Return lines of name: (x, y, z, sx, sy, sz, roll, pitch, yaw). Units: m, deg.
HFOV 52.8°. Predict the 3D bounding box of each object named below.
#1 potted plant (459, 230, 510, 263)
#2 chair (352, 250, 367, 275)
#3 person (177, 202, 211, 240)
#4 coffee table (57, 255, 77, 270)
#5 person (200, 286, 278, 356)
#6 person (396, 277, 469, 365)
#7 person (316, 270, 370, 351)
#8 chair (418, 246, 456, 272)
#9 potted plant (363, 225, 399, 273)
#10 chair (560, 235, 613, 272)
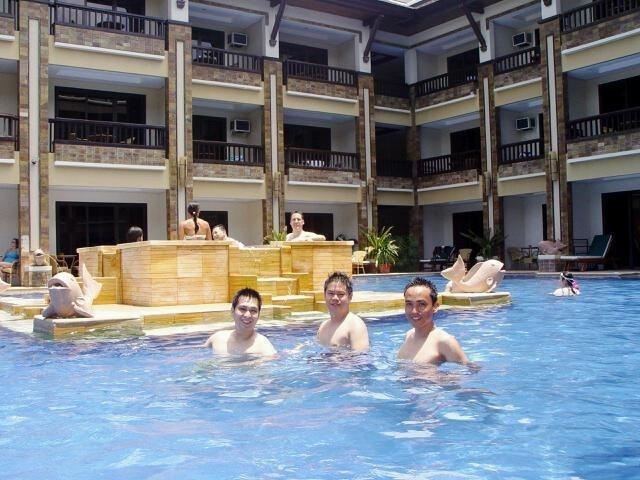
potted plant: (5.795, 0.241, 23.385, 1.428, 1.363, 1.395, 13, -6, 8)
chair: (1.288, 0.772, 22.183, 0.703, 0.894, 0.678, 4, -5, -42)
person: (-2.260, -0.315, 11.755, 0.562, 0.662, 0.899, -1, -2, -23)
coffee table: (-7.334, 0.673, 18.795, 0.560, 0.498, 1.914, -1, -2, -22)
person: (-0.845, 0.919, 7.188, 0.580, 0.757, 0.851, -1, -1, -25)
person: (1.120, 0.828, 6.471, 0.684, 0.893, 0.733, -1, -1, 6)
person: (0.260, 0.807, 7.290, 0.568, 0.880, 0.609, -1, -1, -1)
chair: (4.616, 0.744, 24.085, 0.896, 0.913, 1.371, -3, -5, 42)
potted plant: (2.178, 0.503, 23.005, 1.088, 1.581, 1.419, 0, 4, -4)
chair: (8.159, 0.417, 19.719, 1.480, 1.121, 0.900, 0, -2, -17)
